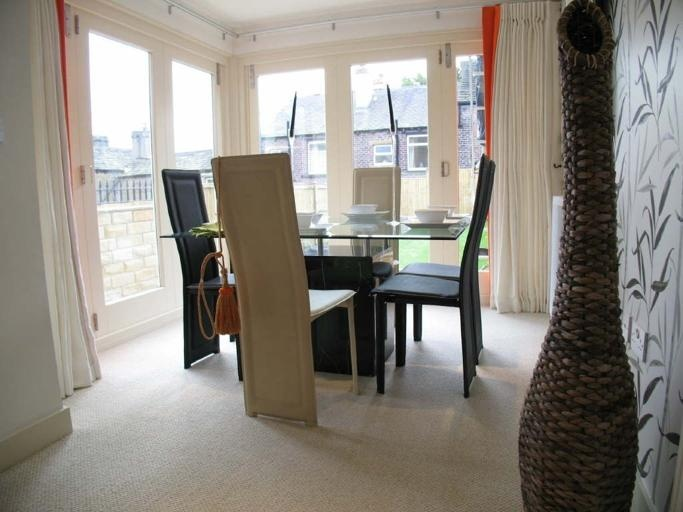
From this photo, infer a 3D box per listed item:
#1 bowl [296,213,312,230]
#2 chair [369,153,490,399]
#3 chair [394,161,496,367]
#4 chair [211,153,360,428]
[{"bbox_3d":[-0.220,-0.212,3.159,0.111,0.085,0.096,4,12,20],"label":"bowl"},{"bbox_3d":[0.534,0.076,3.028,0.603,1.286,0.775,2,13,17],"label":"chair"},{"bbox_3d":[0.631,0.064,3.317,0.658,1.301,0.630,3,15,25],"label":"chair"},{"bbox_3d":[-0.264,0.152,2.710,0.449,1.362,0.552,2,12,25],"label":"chair"}]
